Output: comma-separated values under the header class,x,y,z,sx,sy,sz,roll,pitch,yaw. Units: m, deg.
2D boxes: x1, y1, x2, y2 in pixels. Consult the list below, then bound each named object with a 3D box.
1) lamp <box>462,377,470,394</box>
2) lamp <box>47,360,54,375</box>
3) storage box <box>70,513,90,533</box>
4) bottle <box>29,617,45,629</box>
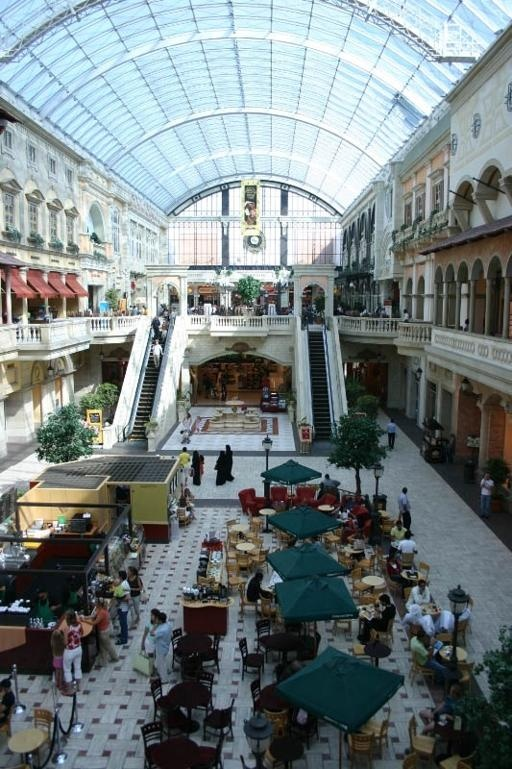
class,x,y,z,sx,sy,sz,roll,pitch,yaw
lamp,7.503,-0.028,17.944,0.299,0.446,0.594,2,6,25
lamp,-10.118,-0.822,24.740,0.252,0.669,0.992,-2,6,-23
storage box,-4.162,3.187,11.887,0.308,0.236,0.471,-2,11,-2
bottle,-3.490,3.771,8.005,0.166,0.091,0.221,-2,7,7
